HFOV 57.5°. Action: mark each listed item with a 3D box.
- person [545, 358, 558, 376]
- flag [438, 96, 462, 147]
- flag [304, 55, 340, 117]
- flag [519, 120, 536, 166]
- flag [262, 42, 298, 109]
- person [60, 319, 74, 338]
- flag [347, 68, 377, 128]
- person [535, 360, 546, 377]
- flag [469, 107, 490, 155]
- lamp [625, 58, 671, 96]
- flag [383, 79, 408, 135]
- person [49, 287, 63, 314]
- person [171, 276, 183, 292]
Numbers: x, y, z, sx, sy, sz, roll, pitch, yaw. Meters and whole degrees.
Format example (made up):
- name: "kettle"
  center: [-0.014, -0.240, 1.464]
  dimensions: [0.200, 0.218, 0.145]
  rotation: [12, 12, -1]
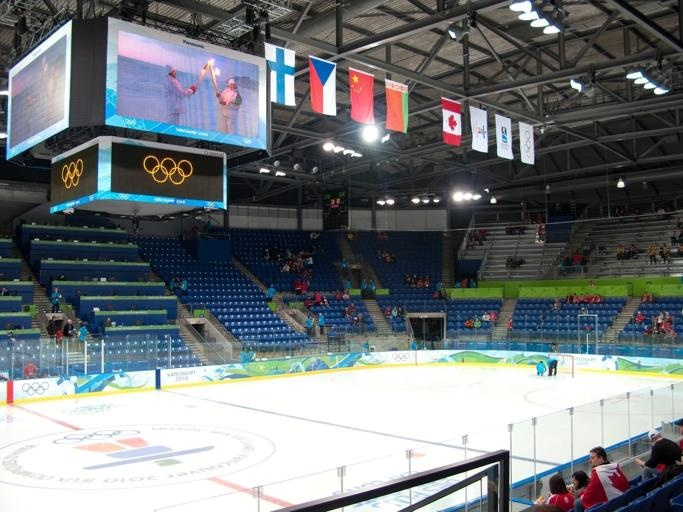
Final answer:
- name: "person"
  center: [10.013, 5.282, 29.513]
  dimensions: [0.379, 0.776, 0.531]
  rotation: [0, -2, 12]
- name: "flag"
  center: [4.085, -5.051, 23.067]
  dimensions: [0.414, 1.691, 1.050]
  rotation: [-1, -2, 36]
- name: "flag"
  center: [-0.588, -5.358, 19.372]
  dimensions: [0.509, 1.847, 1.128]
  rotation: [-2, -3, 45]
- name: "flag"
  center: [7.400, -4.634, 24.951]
  dimensions: [0.434, 1.687, 1.380]
  rotation: [-1, -2, 32]
- name: "flag"
  center: [-1.848, -5.552, 18.870]
  dimensions: [0.524, 1.832, 1.185]
  rotation: [-1, -2, 37]
- name: "person"
  center: [-11.842, 3.142, 26.872]
  dimensions: [0.587, 0.791, 0.675]
  rotation: [1, 0, 41]
- name: "flag"
  center: [0.679, -5.340, 20.459]
  dimensions: [0.761, 1.886, 0.957]
  rotation: [0, -2, 0]
- name: "person"
  center: [9.544, 5.347, 29.718]
  dimensions: [0.319, 0.689, 1.373]
  rotation: [-1, -2, 21]
- name: "flag"
  center: [5.067, -4.786, 23.035]
  dimensions: [0.613, 1.769, 1.126]
  rotation: [0, -2, 11]
- name: "lamp"
  center: [11.615, -6.863, 23.514]
  dimensions: [2.117, 0.681, 1.044]
  rotation: [21, -42, -36]
- name: "flag"
  center: [1.936, -5.177, 21.226]
  dimensions: [0.513, 1.743, 1.046]
  rotation: [-2, -2, 44]
- name: "person"
  center: [-13.331, 2.005, 29.080]
  dimensions: [0.490, 1.138, 1.555]
  rotation: [1, -2, -25]
- name: "person"
  center: [-9.092, 1.548, 34.416]
  dimensions: [0.552, 0.831, 0.509]
  rotation: [-16, -27, 28]
